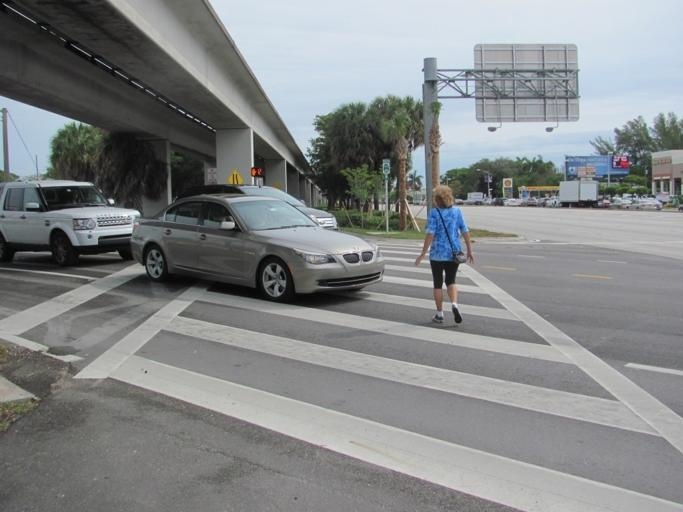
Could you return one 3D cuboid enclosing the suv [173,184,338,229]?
[{"bbox_3d":[-2.971,-2.087,16.717,5.207,1.885,2.443,1,4,19],"label":"suv"}]

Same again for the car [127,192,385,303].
[{"bbox_3d":[-1.823,-0.227,9.588,4.735,1.631,2.158,4,4,30],"label":"car"}]

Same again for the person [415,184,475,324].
[{"bbox_3d":[1.669,-0.047,7.457,0.791,2.137,1.310,-1,9,15],"label":"person"}]

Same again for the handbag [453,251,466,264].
[{"bbox_3d":[1.835,0.006,7.098,0.137,0.181,0.281,5,12,41],"label":"handbag"}]
